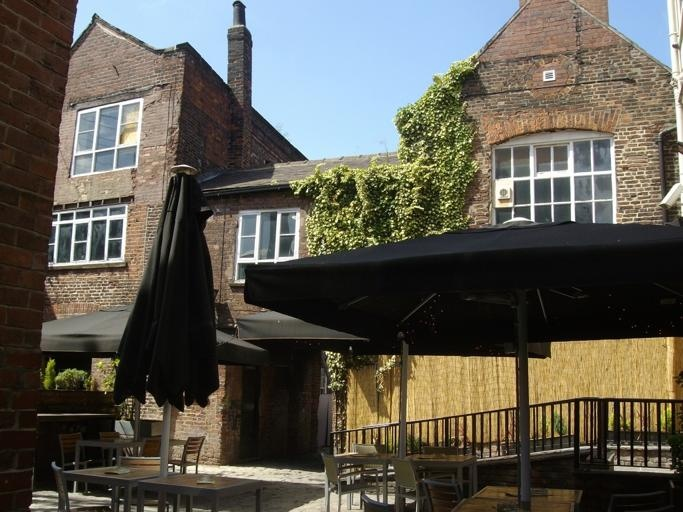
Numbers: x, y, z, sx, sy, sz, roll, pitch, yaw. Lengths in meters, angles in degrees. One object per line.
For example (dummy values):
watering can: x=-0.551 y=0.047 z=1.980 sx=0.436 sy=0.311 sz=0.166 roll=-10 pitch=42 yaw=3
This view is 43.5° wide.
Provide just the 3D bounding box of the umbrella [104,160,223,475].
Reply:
umbrella: x=-1.935 y=0.783 z=9.555 sx=1.141 sy=3.521 sz=1.330 roll=6 pitch=2 yaw=20
